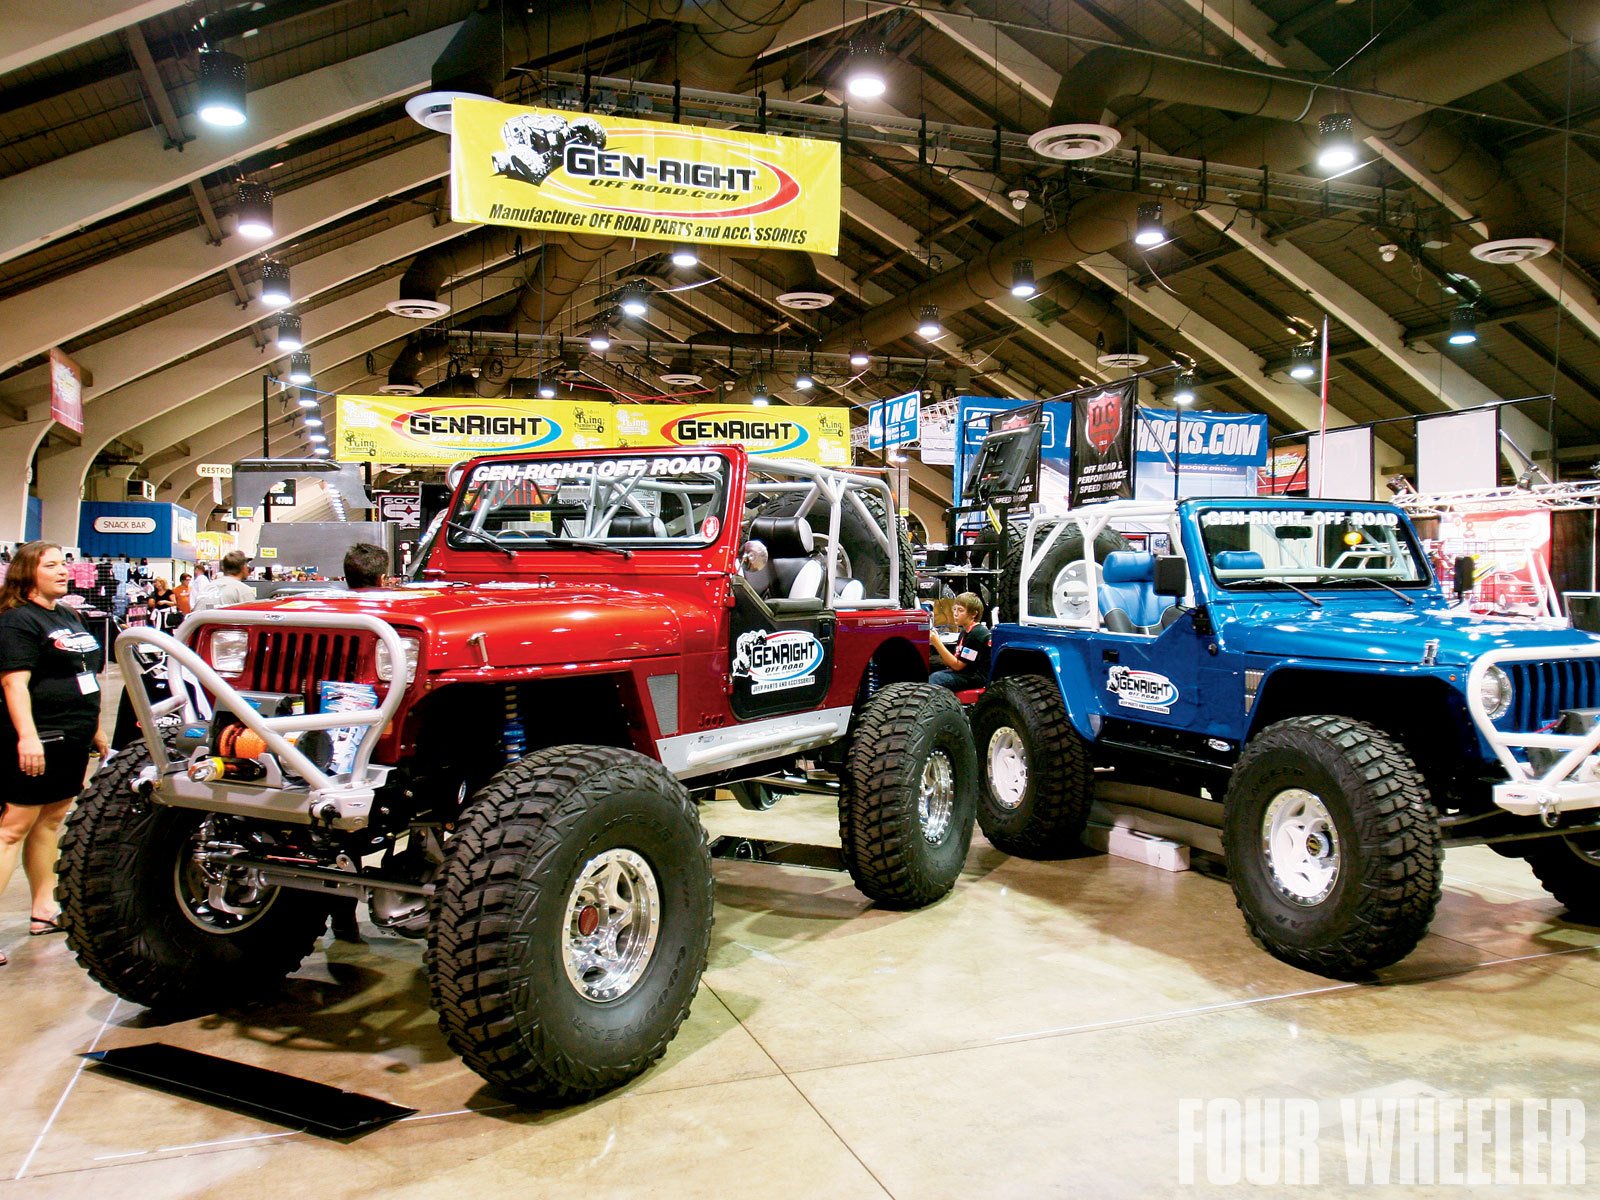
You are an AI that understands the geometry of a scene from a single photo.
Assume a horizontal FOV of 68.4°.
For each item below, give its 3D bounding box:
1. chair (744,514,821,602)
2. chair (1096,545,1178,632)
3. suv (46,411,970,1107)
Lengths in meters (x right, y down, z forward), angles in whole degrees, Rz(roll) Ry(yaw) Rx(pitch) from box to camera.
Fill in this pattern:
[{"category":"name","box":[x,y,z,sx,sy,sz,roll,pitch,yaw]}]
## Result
[{"category":"chair","box":[-0.082,-0.214,6.119,0.494,0.421,0.470,0,-8,-4]},{"category":"chair","box":[2.004,-0.068,7.058,0.589,0.501,0.679,2,25,11]},{"category":"suv","box":[-1.090,0.500,5.273,2.233,2.406,3.190,6,9,35]}]
